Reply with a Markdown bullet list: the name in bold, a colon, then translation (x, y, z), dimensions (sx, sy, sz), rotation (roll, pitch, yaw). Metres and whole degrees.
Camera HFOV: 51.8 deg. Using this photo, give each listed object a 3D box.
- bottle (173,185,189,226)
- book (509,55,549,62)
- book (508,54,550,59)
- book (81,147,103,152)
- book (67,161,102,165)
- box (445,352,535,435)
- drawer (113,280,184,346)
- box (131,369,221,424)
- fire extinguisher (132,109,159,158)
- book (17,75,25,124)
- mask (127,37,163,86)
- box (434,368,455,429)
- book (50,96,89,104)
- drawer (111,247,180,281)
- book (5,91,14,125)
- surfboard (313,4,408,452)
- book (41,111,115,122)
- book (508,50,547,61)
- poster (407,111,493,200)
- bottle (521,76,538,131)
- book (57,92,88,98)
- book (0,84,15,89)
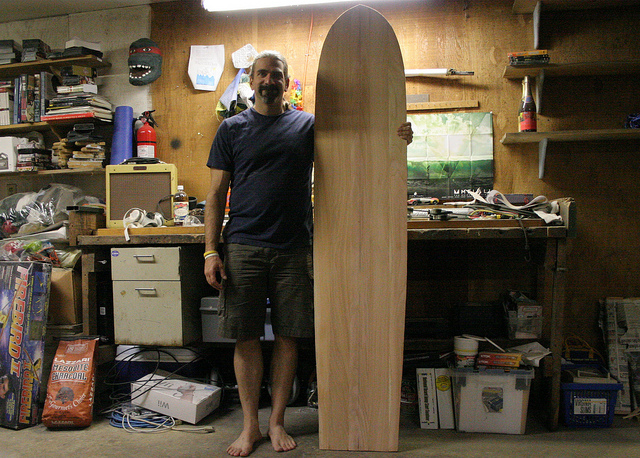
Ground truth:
- **bottle**: translation (-1.048, -0.175, 4.969), dimensions (0.112, 0.255, 0.266), rotation (-2, 14, -12)
- **book**: translation (1.563, -1.256, 4.945), dimensions (0.333, 0.041, 0.069), rotation (-1, 8, 2)
- **book**: translation (1.555, -1.276, 4.918), dimensions (0.272, 0.036, 0.057), rotation (0, 13, -5)
- **book**: translation (-1.843, -0.639, 5.340), dimensions (0.161, 0.030, 0.015), rotation (-1, 14, -7)
- **book**: translation (-1.921, -0.533, 5.368), dimensions (0.274, 0.029, 0.034), rotation (1, 13, -1)
- **box**: translation (1.134, 1.119, 4.571), dimensions (0.571, 0.388, 0.430), rotation (0, -6, 3)
- **drawer**: translation (-1.194, 0.578, 4.790), dimensions (0.476, 0.418, 0.459), rotation (1, 2, 3)
- **box**: translation (-1.012, 1.138, 4.576), dimensions (0.454, 0.135, 0.306), rotation (7, 9, 18)
- **fire extinguisher**: translation (-1.425, -0.768, 5.363), dimensions (0.213, 0.379, 0.255), rotation (0, 14, -5)
- **book**: translation (-2.482, -1.065, 5.485), dimensions (0.052, 0.485, 0.377), rotation (2, 6, -25)
- **mask**: translation (-1.462, -1.382, 5.475), dimensions (0.309, 0.376, 0.221), rotation (7, 7, 23)
- **box**: translation (0.845, 1.157, 4.481), dimensions (0.125, 0.306, 0.378), rotation (-3, 9, 5)
- **book**: translation (-2.046, -1.039, 5.343), dimensions (0.130, 0.028, 0.125), rotation (-1, 4, 21)
- **drawer**: translation (-1.168, 0.258, 4.755), dimensions (0.553, 0.233, 0.388), rotation (-1, -2, 18)
- **book**: translation (-2.597, -1.013, 5.540), dimensions (0.062, 0.263, 0.104), rotation (-3, 14, -18)
- **surfboard**: translation (0.246, -0.014, 4.172), dimensions (0.597, 2.704, 0.725), rotation (1, 14, 0)
- **book**: translation (-1.985, -0.912, 5.370), dimensions (0.561, 0.079, 0.157), rotation (1, 13, -2)
- **book**: translation (1.547, -1.302, 4.976), dimensions (0.376, 0.081, 0.086), rotation (2, 32, 13)
- **poster**: translation (1.020, -0.544, 5.069), dimensions (0.779, 0.683, 0.031), rotation (0, 0, 3)
- **bottle**: translation (1.585, -0.942, 4.989), dimensions (0.129, 0.398, 0.197), rotation (5, 14, 15)
- **book**: translation (-2.005, -1.074, 5.342), dimensions (0.251, 0.040, 0.025), rotation (3, 14, 8)
- **book**: translation (-2.616, -1.186, 5.530), dimensions (0.096, 0.036, 0.038), rotation (-4, 14, -22)
